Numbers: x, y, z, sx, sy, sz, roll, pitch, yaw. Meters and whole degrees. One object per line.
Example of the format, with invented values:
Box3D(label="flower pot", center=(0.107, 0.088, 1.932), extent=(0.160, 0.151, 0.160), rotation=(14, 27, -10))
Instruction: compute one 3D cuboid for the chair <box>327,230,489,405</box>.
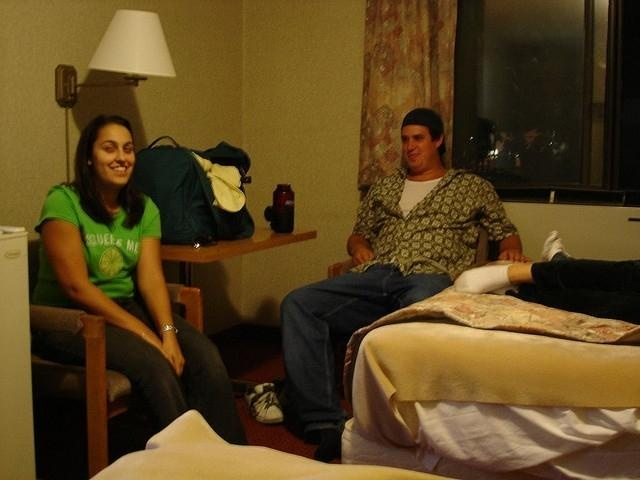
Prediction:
Box3D(label="chair", center=(0.459, 0.266, 2.053), extent=(0.498, 0.561, 0.832), rotation=(2, 6, 39))

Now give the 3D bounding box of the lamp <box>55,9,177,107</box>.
Box3D(label="lamp", center=(-0.919, -0.783, 2.457), extent=(0.513, 0.410, 0.349), rotation=(2, 15, -1))

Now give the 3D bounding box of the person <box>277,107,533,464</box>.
Box3D(label="person", center=(0.387, 0.126, 2.692), extent=(1.089, 1.728, 1.008), rotation=(8, -8, -34))

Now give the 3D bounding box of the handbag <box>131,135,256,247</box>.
Box3D(label="handbag", center=(-0.589, -0.210, 2.668), extent=(0.501, 0.540, 0.534), rotation=(-3, 4, -8))

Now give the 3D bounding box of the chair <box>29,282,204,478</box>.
Box3D(label="chair", center=(-0.766, 0.488, 2.330), extent=(0.568, 1.002, 0.760), rotation=(0, 2, 21))

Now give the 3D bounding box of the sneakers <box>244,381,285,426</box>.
Box3D(label="sneakers", center=(-0.263, 0.777, 2.590), extent=(0.101, 0.109, 0.240), rotation=(-1, 1, -29))
